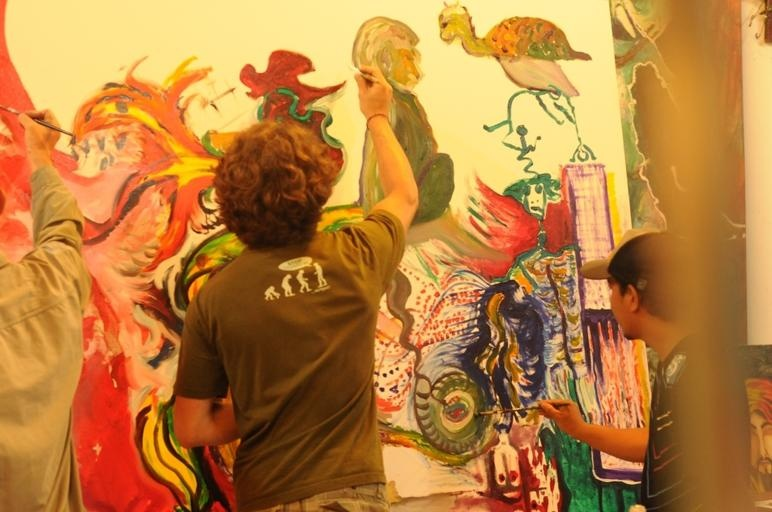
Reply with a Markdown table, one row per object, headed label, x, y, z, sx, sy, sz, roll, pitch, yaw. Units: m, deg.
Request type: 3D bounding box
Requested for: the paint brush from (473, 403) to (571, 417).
| label | x | y | z | sx | sy | sz | roll | pitch | yaw |
| --- | --- | --- | --- | --- | --- | --- | --- | --- | --- |
| paint brush | 0.613 | 0.705 | 3.266 | 0.337 | 0.029 | 0.030 | -5 | -7 | -15 |
